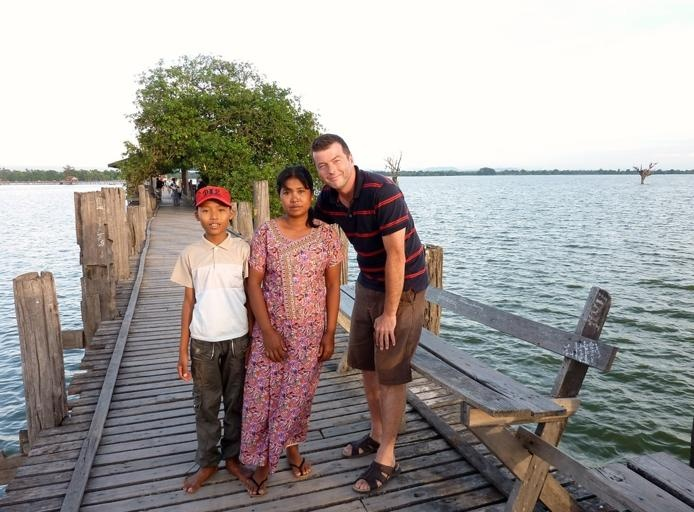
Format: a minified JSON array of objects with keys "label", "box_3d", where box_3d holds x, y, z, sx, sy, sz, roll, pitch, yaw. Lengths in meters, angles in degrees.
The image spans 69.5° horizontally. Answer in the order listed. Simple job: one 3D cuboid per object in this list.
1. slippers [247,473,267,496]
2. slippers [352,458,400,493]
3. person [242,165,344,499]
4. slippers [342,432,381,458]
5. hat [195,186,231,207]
[{"label":"slippers","box_3d":[-0.633,1.618,3.527,0.125,0.048,0.246,1,7,-10]},{"label":"slippers","box_3d":[0.218,1.590,3.621,0.367,0.129,0.145,-4,3,-45]},{"label":"person","box_3d":[-0.402,0.523,3.496,0.761,2.258,0.401,-3,13,-13]},{"label":"slippers","box_3d":[0.118,1.487,3.949,0.295,0.112,0.133,2,1,-33]},{"label":"hat","box_3d":[-0.967,-0.424,3.591,0.252,0.148,0.197,-3,13,-16]}]
